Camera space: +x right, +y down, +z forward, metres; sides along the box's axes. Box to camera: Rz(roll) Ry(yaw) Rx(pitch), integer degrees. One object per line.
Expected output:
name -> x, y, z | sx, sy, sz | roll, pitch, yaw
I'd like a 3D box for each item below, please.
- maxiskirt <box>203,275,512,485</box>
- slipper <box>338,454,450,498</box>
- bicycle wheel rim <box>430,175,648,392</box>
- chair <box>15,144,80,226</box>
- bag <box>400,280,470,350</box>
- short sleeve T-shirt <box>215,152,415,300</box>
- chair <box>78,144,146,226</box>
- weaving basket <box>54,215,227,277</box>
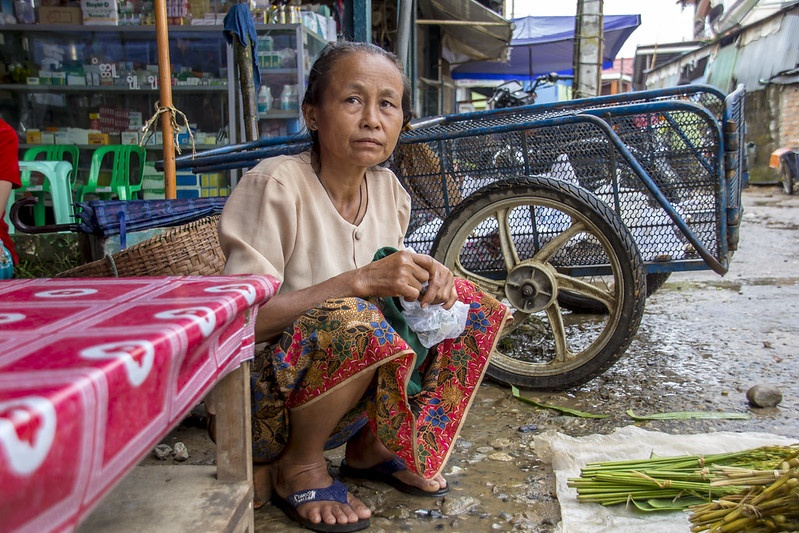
maxiskirt -> -0.212, 0.465, 2.701 | 1.188, 0.763, 1.108 | -1, -1, 21
slipper -> -0.014, 0.827, 2.749 | 0.413, 0.107, 0.163 | 2, 5, 25
bicycle wheel rim -> 0.695, 0.052, 3.326 | 1.107, 1.139, 0.196 | 2, 5, 16
chair -> -3.110, -0.800, 6.093 | 0.504, 0.666, 0.431 | 4, 3, 39
bag -> 0.138, 0.212, 2.603 | 0.241, 0.248, 0.118 | 4, 19, 14
short sleeve T-shirt -> -0.293, -0.128, 2.759 | 0.936, 0.639, 0.476 | 2, 3, -45
chair -> -2.688, -0.707, 6.222 | 0.507, 0.783, 0.547 | 1, 22, -1
weaving basket -> -1.104, -0.050, 2.953 | 0.512, 0.201, 0.429 | -20, -5, -10
